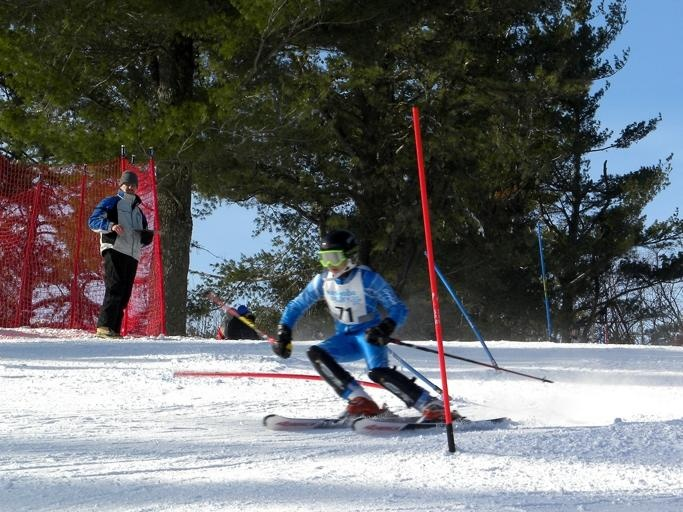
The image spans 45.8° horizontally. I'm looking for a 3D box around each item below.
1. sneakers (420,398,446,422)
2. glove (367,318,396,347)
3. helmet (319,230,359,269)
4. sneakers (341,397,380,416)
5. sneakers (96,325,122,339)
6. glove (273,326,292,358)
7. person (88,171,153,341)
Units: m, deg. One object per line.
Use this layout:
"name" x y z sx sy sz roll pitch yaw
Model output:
"sneakers" 0.991 1.610 8.539 0.256 0.153 0.169 -25 7 2
"glove" 0.427 0.777 8.559 0.346 0.288 0.209 5 -12 -19
"helmet" -0.019 -0.064 8.740 0.397 0.475 0.519 -1 7 27
"sneakers" 0.233 1.589 8.681 0.478 0.228 0.169 -3 -2 -2
"sneakers" -3.417 1.084 11.722 0.340 0.173 0.152 2 -1 -18
"glove" -0.625 0.903 8.696 0.205 0.321 0.118 5 -10 8
"person" -3.234 -0.080 11.565 0.711 2.377 0.989 -3 -12 19
